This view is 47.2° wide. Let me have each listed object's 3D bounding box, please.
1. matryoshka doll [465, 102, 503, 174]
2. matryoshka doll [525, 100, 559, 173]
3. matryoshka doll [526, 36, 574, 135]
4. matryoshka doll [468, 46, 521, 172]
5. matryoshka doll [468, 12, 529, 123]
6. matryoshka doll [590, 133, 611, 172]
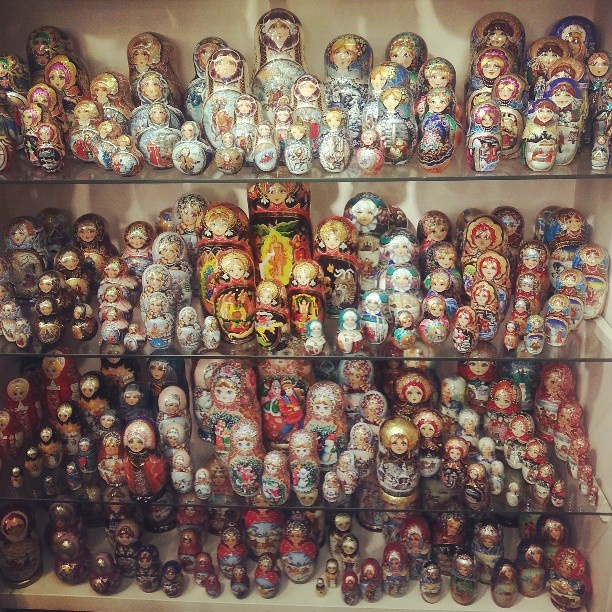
[{"bbox_3d":[0.359,-0.339,1.408,0.069,0.139,0.053,1,12,10],"label":"matryoshka doll"},{"bbox_3d":[0.465,-0.338,1.388,0.066,0.140,0.034,2,12,14],"label":"matryoshka doll"},{"bbox_3d":[0.537,-0.533,1.550,0.094,0.136,0.075,4,41,20],"label":"matryoshka doll"},{"bbox_3d":[0.389,-0.410,1.453,0.130,0.276,0.074,-1,-2,1],"label":"matryoshka doll"},{"bbox_3d":[0.441,-0.552,1.628,0.116,0.260,0.119,7,45,12],"label":"matryoshka doll"},{"bbox_3d":[0.588,-0.305,1.396,0.040,0.078,0.027,3,1,13],"label":"matryoshka doll"}]
